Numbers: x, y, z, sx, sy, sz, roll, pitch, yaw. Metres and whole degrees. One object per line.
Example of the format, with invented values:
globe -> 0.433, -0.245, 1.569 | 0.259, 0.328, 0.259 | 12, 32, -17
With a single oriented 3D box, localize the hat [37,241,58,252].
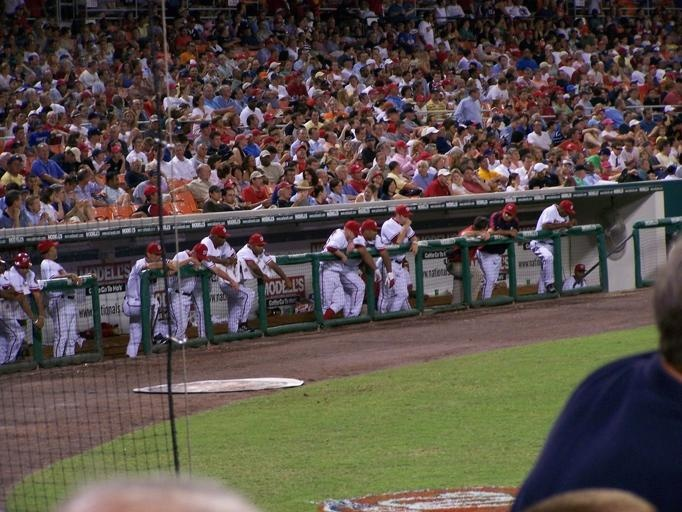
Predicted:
hat -> -4.838, -0.217, 26.326 | 0.235, 0.119, 0.161 | -13, 24, -20

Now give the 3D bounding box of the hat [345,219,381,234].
hat -> 0.357, -0.580, 28.502 | 0.471, 0.169, 0.269 | 5, 4, -14

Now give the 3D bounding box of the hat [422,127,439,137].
hat -> 1.779, -2.518, 31.851 | 0.283, 0.155, 0.172 | -12, 10, 15

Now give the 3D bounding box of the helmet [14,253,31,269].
helmet -> -5.191, 0.030, 26.062 | 0.245, 0.269, 0.364 | -2, -1, -11

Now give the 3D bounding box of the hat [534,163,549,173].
hat -> 3.994, -1.830, 32.042 | 0.228, 0.111, 0.174 | -8, 13, 3

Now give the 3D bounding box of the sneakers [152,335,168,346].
sneakers -> -3.043, 1.365, 26.945 | 0.216, 0.189, 0.228 | -2, -1, 1

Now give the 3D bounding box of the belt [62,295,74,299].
belt -> -4.458, 0.636, 26.293 | 0.174, 0.071, 0.017 | -1, -1, -37

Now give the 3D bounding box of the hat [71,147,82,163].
hat -> -4.655, -1.836, 28.109 | 0.079, 0.280, 0.293 | -2, -1, 23

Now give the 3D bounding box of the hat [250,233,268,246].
hat -> -1.452, -0.333, 27.766 | 0.243, 0.135, 0.179 | 1, 21, -5

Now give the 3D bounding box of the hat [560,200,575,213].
hat -> 4.310, -1.032, 30.642 | 0.290, 0.168, 0.219 | 24, 39, 27

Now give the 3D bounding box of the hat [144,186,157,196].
hat -> -3.267, -1.174, 27.438 | 0.197, 0.096, 0.140 | -26, 19, 6

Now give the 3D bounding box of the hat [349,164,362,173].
hat -> 0.281, -1.714, 30.210 | 0.200, 0.133, 0.333 | -2, -1, 4

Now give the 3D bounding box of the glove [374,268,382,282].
glove -> 0.654, 0.308, 28.788 | 0.157, 0.170, 0.184 | 1, -1, -4

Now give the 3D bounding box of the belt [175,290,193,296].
belt -> -2.552, 0.557, 25.995 | 0.227, 0.064, 0.212 | 2, -6, -3

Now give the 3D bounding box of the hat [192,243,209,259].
hat -> -2.363, -0.123, 27.232 | 0.291, 0.178, 0.206 | 41, 38, 22

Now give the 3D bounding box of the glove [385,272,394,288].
glove -> 0.877, 0.379, 28.861 | 0.177, 0.235, 0.071 | 2, 5, -17
